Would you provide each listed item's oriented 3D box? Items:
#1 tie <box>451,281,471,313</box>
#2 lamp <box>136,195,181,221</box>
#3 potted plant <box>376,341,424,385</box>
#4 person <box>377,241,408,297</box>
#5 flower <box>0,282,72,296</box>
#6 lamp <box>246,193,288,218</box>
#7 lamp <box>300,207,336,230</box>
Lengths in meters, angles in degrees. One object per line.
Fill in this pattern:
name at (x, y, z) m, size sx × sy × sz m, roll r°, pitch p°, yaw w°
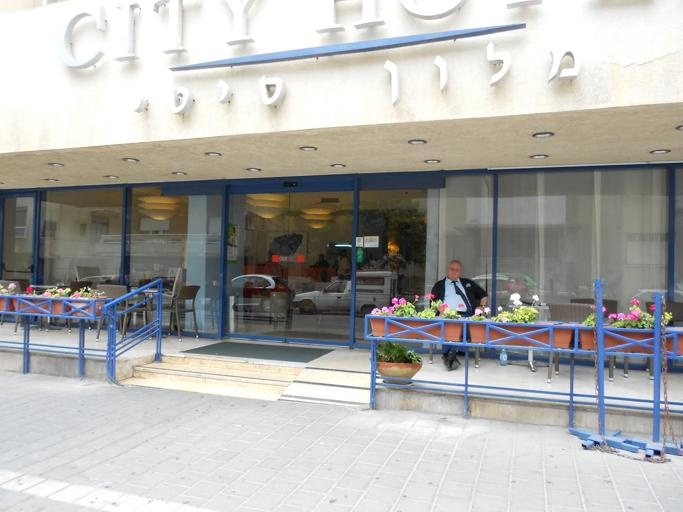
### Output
tie at (1.732, 0.577, 9.420) m, size 0.106 × 0.371 × 0.292 m, roll -16°, pitch -6°, yaw -14°
lamp at (-3.447, -0.857, 11.786) m, size 0.608 × 0.347 × 0.560 m, roll 0°, pitch -2°, yaw -3°
potted plant at (0.691, 1.328, 7.935) m, size 0.537 × 0.332 × 0.537 m, roll -6°, pitch -8°, yaw 45°
person at (0.845, 0.197, 10.268) m, size 0.392 × 0.836 × 0.206 m, roll 12°, pitch 17°, yaw 43°
flower at (-4.960, 0.565, 10.201) m, size 0.910 × 0.175 × 0.842 m, roll 0°, pitch -4°, yaw 5°
lamp at (-1.296, -0.897, 11.061) m, size 0.535 × 0.189 × 0.503 m, roll 0°, pitch -3°, yaw 17°
lamp at (-0.407, -0.628, 10.731) m, size 0.429 × 0.245 × 0.403 m, roll -1°, pitch -2°, yaw 19°
